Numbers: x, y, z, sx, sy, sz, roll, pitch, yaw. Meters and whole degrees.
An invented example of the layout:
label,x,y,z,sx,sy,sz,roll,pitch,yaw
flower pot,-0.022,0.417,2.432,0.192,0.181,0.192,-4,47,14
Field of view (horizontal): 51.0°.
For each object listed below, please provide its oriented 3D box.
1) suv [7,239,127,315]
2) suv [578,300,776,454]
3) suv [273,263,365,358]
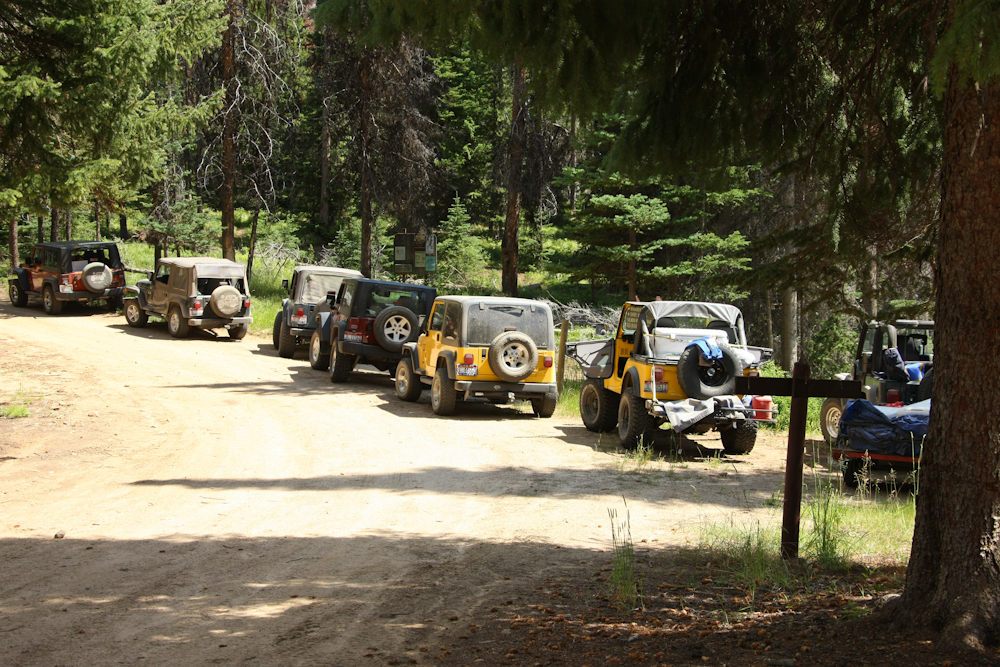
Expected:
label,x,y,z,sx,sy,sz,roll,pitch,yaw
suv,-14.050,-1.832,33.650,4.237,2.442,2.009,3,0,31
suv,2.933,0.674,18.328,2.360,1.686,3.103,3,5,-11
suv,-4.938,-0.919,27.379,1.678,1.845,3.278,1,13,-15
